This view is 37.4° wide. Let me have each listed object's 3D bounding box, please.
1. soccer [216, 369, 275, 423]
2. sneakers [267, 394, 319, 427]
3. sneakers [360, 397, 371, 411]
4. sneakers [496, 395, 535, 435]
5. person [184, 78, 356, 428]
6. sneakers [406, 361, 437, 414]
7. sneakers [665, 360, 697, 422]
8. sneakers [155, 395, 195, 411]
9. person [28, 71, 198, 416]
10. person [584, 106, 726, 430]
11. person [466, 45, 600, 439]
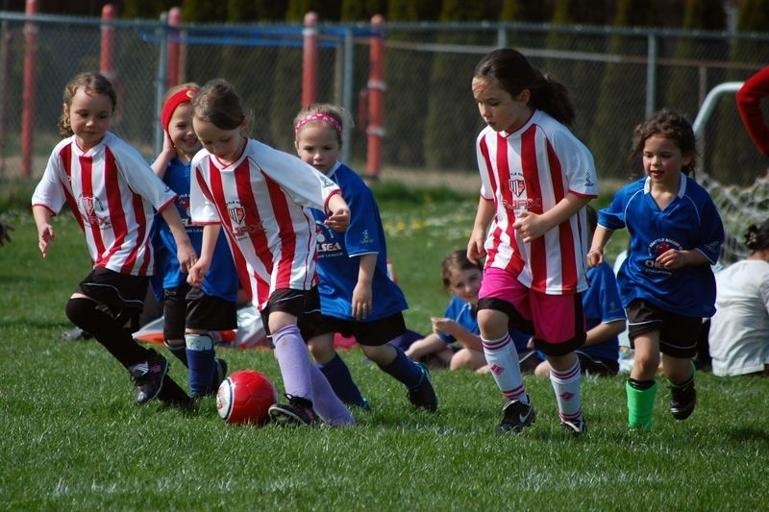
[{"bbox_3d":[-1.025,1.048,8.375,0.413,0.382,0.376,14,21,-8],"label":"soccer"},{"bbox_3d":[-0.663,1.129,8.254,0.325,0.159,0.191,20,-23,-12],"label":"sneakers"},{"bbox_3d":[-0.157,1.167,8.957,0.078,0.132,0.080,-3,-4,-8],"label":"sneakers"},{"bbox_3d":[0.977,1.197,8.438,0.136,0.185,0.421,0,8,31],"label":"sneakers"},{"bbox_3d":[-0.839,-0.028,8.319,1.246,2.532,0.565,1,2,-2],"label":"person"},{"bbox_3d":[0.323,1.056,8.928,0.157,0.468,0.201,-9,16,32],"label":"sneakers"},{"bbox_3d":[2.310,1.006,8.772,0.178,0.563,0.240,3,2,35],"label":"sneakers"},{"bbox_3d":[-1.594,1.139,8.701,0.167,0.066,0.125,2,14,-18],"label":"sneakers"},{"bbox_3d":[-2.066,-0.105,8.597,1.238,2.536,0.362,1,2,2],"label":"person"},{"bbox_3d":[2.141,0.145,8.842,1.261,2.402,1.008,-4,6,-38],"label":"person"},{"bbox_3d":[1.094,-0.094,8.379,0.903,2.836,0.570,1,2,4],"label":"person"}]
